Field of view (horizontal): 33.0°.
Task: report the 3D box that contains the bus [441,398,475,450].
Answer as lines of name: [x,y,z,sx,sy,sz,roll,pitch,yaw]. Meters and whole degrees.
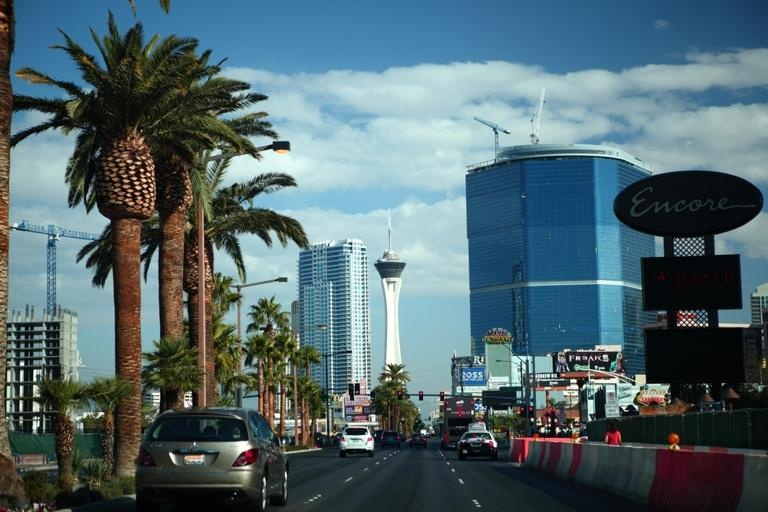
bus: [5.981,13.397,105.472,1.645,5.308,2.380,-4,-11,21]
